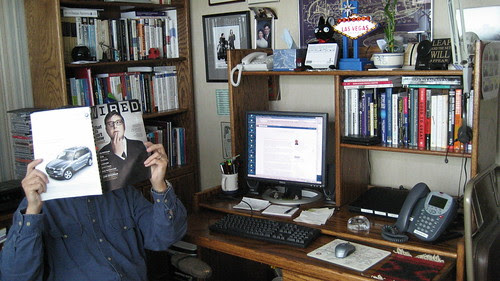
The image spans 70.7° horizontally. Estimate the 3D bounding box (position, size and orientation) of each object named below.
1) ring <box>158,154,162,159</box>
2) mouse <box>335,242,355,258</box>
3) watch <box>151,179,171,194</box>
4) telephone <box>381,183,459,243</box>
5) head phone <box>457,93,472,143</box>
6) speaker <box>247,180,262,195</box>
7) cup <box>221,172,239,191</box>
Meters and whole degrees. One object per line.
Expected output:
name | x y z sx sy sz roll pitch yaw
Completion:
ring | -0.582 0.103 2.260 0.021 0.018 0.026 -2 6 -21
mouse | 0.588 0.676 2.208 0.144 0.063 0.070 -13 18 -32
watch | -0.586 0.299 2.316 0.107 0.040 0.082 3 17 34
telephone | 1.099 0.484 2.242 0.436 0.181 0.338 -41 40 -14
head phone | 1.394 -0.141 2.278 0.083 0.319 0.139 4 18 29
speaker | 0.024 0.383 2.911 0.100 0.131 0.135 1 4 39
cup | -0.164 0.333 2.865 0.110 0.113 0.164 4 10 27
